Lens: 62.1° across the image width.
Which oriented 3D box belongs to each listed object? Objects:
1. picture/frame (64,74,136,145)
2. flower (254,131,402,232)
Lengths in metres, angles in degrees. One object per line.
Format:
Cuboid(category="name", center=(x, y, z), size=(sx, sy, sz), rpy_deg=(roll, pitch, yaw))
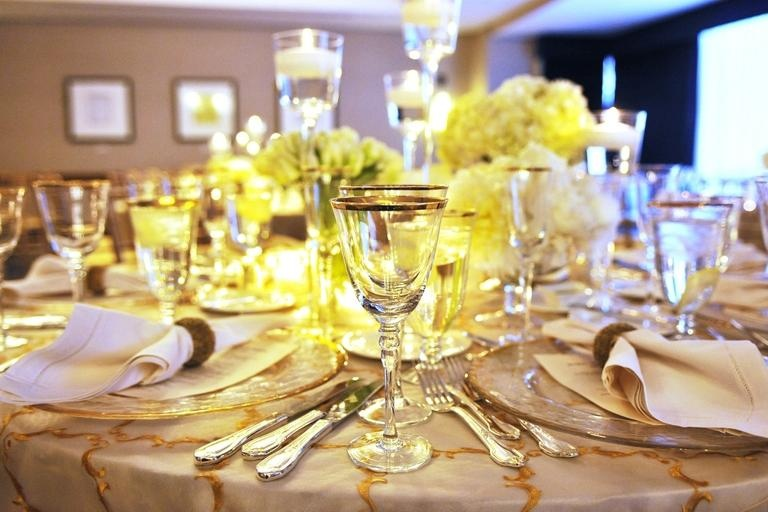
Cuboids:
Cuboid(category="picture/frame", center=(-0.482, -0.248, 1.080), size=(0.110, 0.119, 0.075), rpy_deg=(-3, 8, -20))
Cuboid(category="flower", center=(-0.135, -0.184, 1.638), size=(0.277, 0.154, 0.255), rpy_deg=(1, 5, 15))
